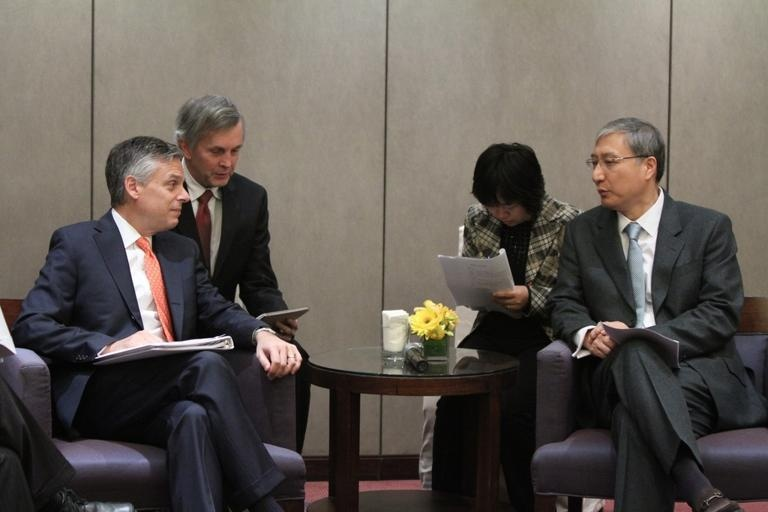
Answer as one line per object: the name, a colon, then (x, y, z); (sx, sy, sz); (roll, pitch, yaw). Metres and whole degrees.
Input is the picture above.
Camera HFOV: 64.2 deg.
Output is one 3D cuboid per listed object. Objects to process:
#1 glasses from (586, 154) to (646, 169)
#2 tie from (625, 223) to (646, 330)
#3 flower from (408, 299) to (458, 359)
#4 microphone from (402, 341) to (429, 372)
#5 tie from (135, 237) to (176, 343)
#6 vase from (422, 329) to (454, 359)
glasses: (1.104, -0.466, 2.964); (0.137, 0.039, 0.136); (0, -1, -7)
tie: (1.189, 0.098, 2.953); (0.070, 0.494, 0.080); (-3, -13, 6)
flower: (0.236, 0.355, 3.018); (0.253, 0.262, 0.258); (2, -2, -2)
microphone: (0.138, 0.467, 2.796); (0.065, 0.123, 0.119); (-1, 17, -10)
tie: (-1.057, 0.115, 2.852); (0.090, 0.057, 0.609); (-8, 50, -28)
vase: (0.265, 0.420, 2.978); (0.134, 0.136, 0.138); (-1, -3, 10)
